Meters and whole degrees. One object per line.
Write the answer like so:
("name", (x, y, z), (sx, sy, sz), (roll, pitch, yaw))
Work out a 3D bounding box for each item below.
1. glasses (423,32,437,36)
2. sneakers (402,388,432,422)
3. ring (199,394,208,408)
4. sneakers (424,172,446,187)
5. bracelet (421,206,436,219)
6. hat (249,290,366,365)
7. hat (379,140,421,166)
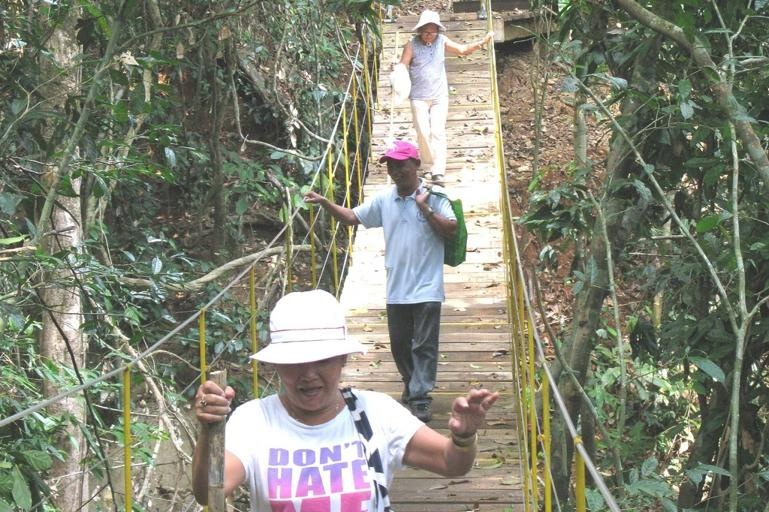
("glasses", (0.456, -2.114, 9.920), (0.059, 0.042, 0.141), (7, 17, 44))
("sneakers", (0.256, 1.125, 7.813), (0.117, 0.147, 0.345), (0, 4, -6))
("ring", (-0.922, 0.752, 5.324), (0.037, 0.051, 0.023), (0, -6, -1))
("sneakers", (0.501, -0.741, 10.270), (0.190, 0.098, 0.250), (1, 9, 5))
("bracelet", (0.323, -0.313, 7.654), (0.022, 0.087, 0.087), (-32, -20, -22))
("hat", (-0.398, 0.404, 5.520), (0.436, 0.242, 0.465), (-5, -5, 2))
("hat", (0.103, -0.765, 7.791), (0.312, 0.196, 0.251), (-11, 13, -24))
